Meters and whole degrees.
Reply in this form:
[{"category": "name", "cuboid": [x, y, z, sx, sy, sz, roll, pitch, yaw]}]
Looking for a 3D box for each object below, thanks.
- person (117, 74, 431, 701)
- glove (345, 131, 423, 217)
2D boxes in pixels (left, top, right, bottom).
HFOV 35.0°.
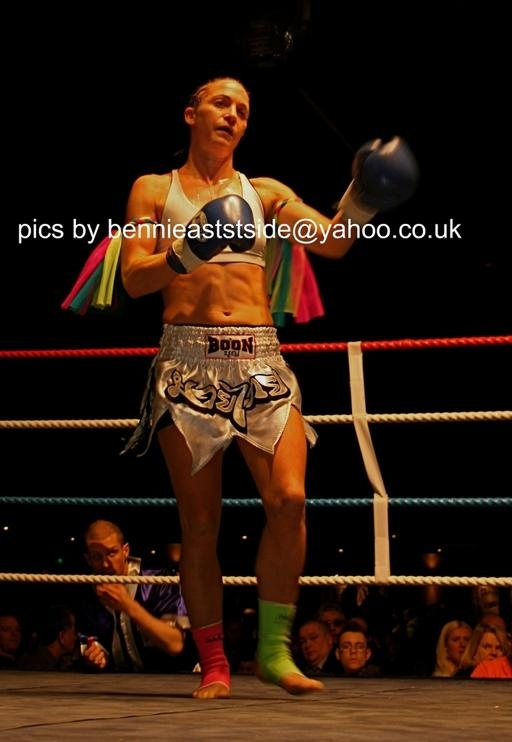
[{"category": "person", "cuboid": [0.015, 0.000, 1.912, 0.567, 1.471, 0.616, -2, 4, -36]}, {"category": "glove", "cuboid": [0.278, -0.443, 1.835, 0.149, 0.135, 0.177, 12, 17, -10]}]
